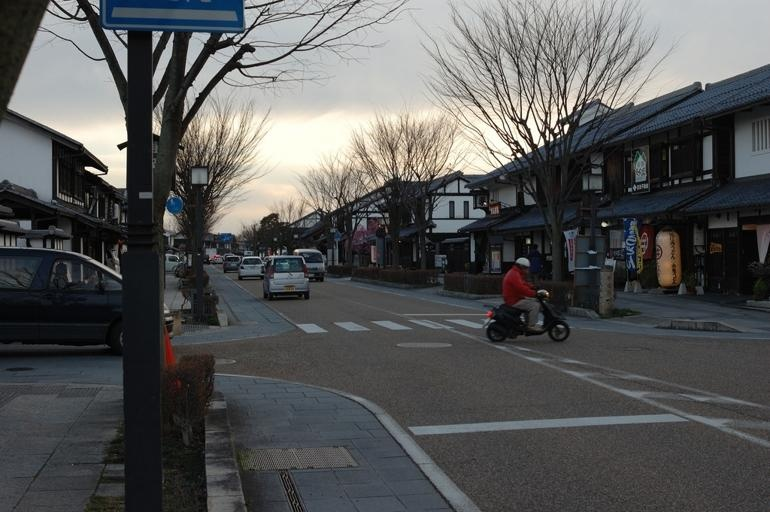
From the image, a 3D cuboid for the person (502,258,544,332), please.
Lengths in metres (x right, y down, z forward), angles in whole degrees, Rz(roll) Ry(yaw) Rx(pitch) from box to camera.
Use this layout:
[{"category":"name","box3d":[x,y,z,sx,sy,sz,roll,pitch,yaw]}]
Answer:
[{"category":"person","box3d":[3.076,0.867,15.975,0.779,1.648,1.064,-2,-2,11]}]

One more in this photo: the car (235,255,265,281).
[{"category":"car","box3d":[-10.429,0.901,54.961,1.715,1.820,2.216,-1,-2,-3]}]

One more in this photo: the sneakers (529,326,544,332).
[{"category":"sneakers","box3d":[3.350,1.651,15.759,0.318,0.154,0.128,-3,29,4]}]

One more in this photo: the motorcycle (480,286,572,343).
[{"category":"motorcycle","box3d":[3.255,1.342,16.347,1.959,1.482,1.008,-2,7,-8]}]

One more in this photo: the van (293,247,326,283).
[{"category":"van","box3d":[-5.253,0.706,50.674,1.728,1.827,3.186,-1,7,-7]}]

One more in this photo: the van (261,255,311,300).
[{"category":"van","box3d":[-4.297,0.927,30.697,1.699,1.894,0.880,-1,-1,0]}]
